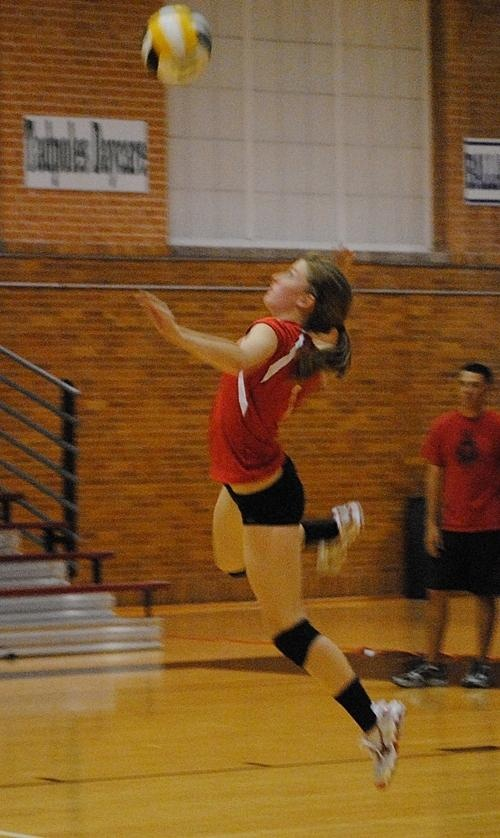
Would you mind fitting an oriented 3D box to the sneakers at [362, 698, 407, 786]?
[{"bbox_3d":[0.434,1.043,4.544,0.106,0.251,0.179,0,1,22],"label":"sneakers"}]

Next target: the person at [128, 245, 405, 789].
[{"bbox_3d":[0.024,0.337,4.697,1.088,1.747,0.796,4,2,-15],"label":"person"}]
